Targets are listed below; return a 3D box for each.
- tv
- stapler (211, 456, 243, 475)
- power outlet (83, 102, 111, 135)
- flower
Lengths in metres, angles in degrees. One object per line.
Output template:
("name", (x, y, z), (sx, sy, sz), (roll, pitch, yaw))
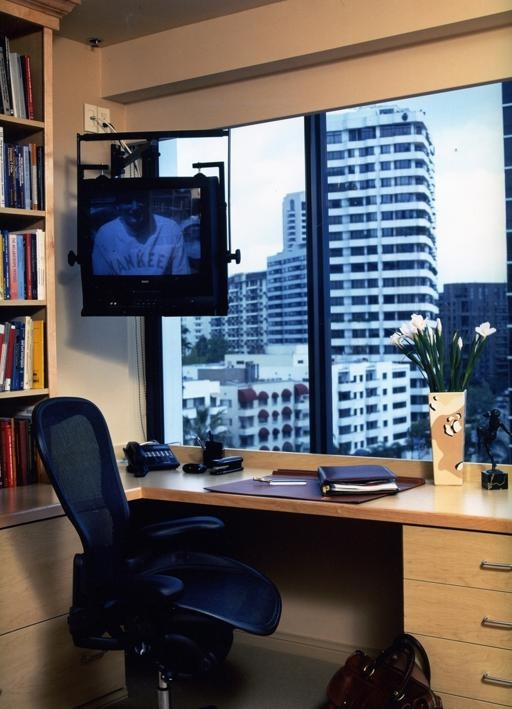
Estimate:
("tv", (-0.403, -0.462, 2.755), (0.647, 0.590, 0.335), (2, 9, 14))
("stapler", (-0.130, 0.463, 2.702), (0.049, 0.068, 0.188), (-2, -4, 31))
("power outlet", (-0.729, -1.115, 3.086), (0.093, 0.146, 0.194), (-2, 4, 18))
("flower", (0.662, -0.003, 2.366), (0.340, 0.304, 0.272), (-1, -2, 8))
